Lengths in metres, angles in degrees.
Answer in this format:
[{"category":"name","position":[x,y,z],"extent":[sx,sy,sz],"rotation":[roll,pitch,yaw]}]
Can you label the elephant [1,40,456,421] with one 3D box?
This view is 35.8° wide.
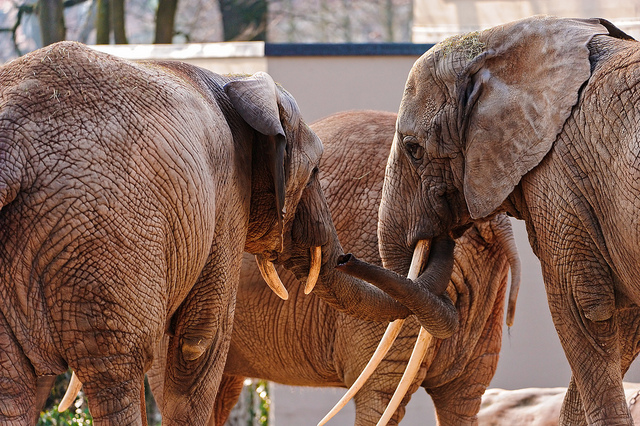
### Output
[{"category":"elephant","position":[-0.531,0.102,3.626],"extent":[0.526,1.422,1.417],"rotation":[4,6,34]}]
